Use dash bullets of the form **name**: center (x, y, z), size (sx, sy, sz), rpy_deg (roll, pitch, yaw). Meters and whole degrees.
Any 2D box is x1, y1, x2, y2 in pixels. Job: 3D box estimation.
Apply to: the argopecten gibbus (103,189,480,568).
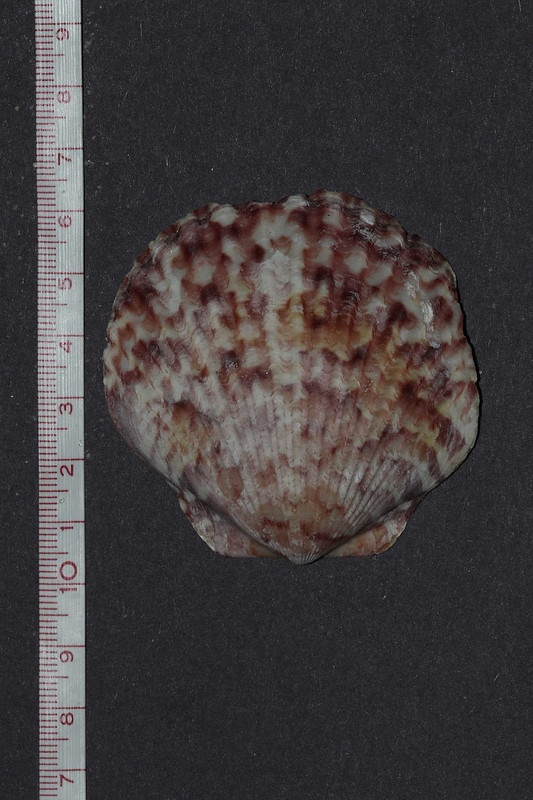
- **argopecten gibbus**: center (0.030, -0.034, 1.455), size (0.521, 0.128, 0.538), rpy_deg (-1, 88, 7)
